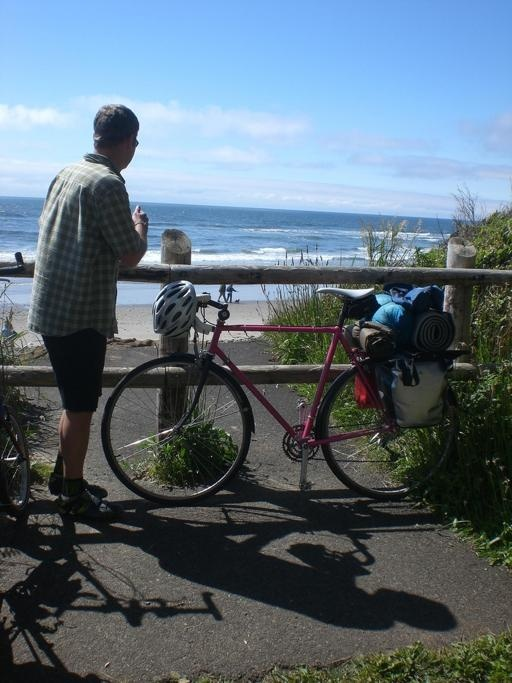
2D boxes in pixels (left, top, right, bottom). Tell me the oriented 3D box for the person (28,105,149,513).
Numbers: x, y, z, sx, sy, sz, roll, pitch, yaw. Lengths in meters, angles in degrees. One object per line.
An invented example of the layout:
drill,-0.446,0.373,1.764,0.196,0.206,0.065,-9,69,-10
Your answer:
person,-0.861,-0.134,3.266,0.554,2.093,0.374,-1,12,-18

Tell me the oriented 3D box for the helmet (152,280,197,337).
helmet,-0.435,-0.161,3.456,0.233,0.326,0.260,2,11,-4

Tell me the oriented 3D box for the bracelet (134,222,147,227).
bracelet,-0.634,-0.641,3.514,0.038,0.026,0.036,2,-2,4
